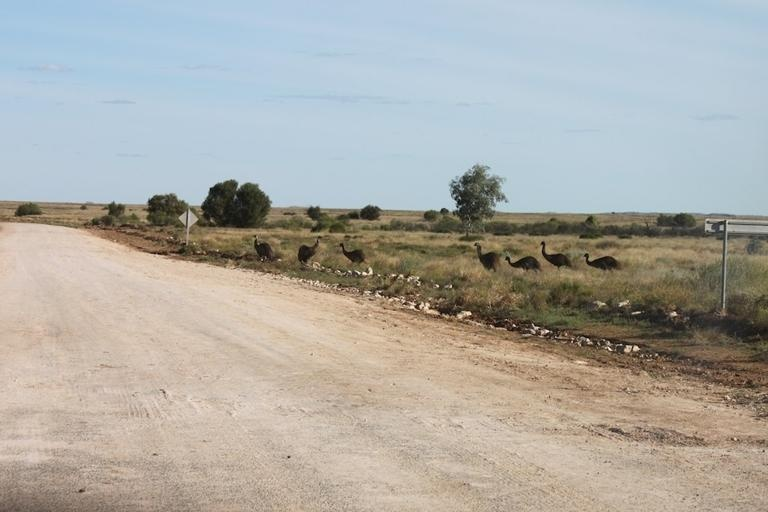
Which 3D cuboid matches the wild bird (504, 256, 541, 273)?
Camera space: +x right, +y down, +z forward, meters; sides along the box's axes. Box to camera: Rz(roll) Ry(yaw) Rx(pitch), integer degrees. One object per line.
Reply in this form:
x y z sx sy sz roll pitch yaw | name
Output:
6.108 0.334 36.422 1.242 0.797 2.553 3 9 1 | wild bird

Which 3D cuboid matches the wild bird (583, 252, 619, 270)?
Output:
9.694 0.345 36.806 0.791 0.614 1.550 -7 13 -43 | wild bird
